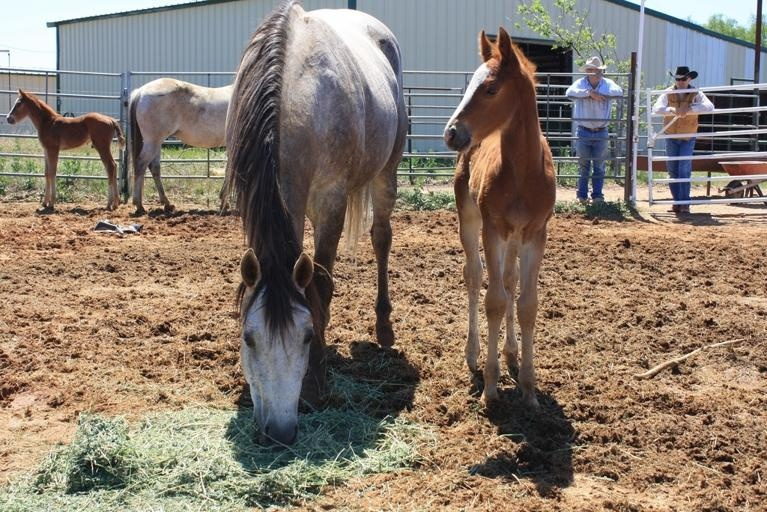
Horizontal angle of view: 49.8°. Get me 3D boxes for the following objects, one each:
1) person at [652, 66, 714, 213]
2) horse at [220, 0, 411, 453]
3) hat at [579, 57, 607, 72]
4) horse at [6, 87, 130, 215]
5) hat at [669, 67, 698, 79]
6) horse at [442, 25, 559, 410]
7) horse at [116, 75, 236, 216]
[{"bbox_3d":[5.457,-2.144,15.182,0.939,2.682,1.260,3,8,22],"label":"person"},{"bbox_3d":[-0.661,-0.615,8.989,1.372,4.327,3.069,2,8,13],"label":"horse"},{"bbox_3d":[3.869,-3.536,15.454,0.478,0.282,0.633,1,5,-4],"label":"hat"},{"bbox_3d":[-5.903,-2.012,15.439,2.227,2.119,1.475,1,8,2],"label":"horse"},{"bbox_3d":[5.498,-3.317,15.038,0.331,0.224,0.479,5,10,25],"label":"hat"},{"bbox_3d":[1.255,-0.441,8.801,1.084,3.806,1.157,2,8,12],"label":"horse"},{"bbox_3d":[-3.442,-2.251,16.060,3.050,2.565,0.792,-5,12,-35],"label":"horse"}]
